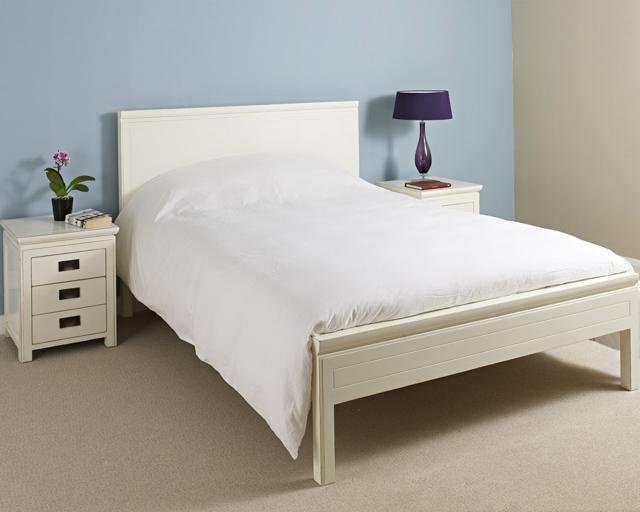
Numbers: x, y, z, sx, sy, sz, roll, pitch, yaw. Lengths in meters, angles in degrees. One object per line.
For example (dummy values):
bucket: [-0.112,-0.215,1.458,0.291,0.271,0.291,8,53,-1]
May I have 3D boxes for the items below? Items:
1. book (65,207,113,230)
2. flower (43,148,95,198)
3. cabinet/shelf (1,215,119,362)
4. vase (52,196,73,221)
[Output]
book: [-1.319,-0.205,3.107,0.163,0.040,0.163,11,19,27]
flower: [-1.495,-0.475,3.307,0.287,0.305,0.306,0,7,12]
cabinet/shelf: [-1.464,0.091,3.365,0.778,0.994,0.691,-3,7,-34]
vase: [-1.493,-0.275,3.193,0.128,0.151,0.129,-4,12,-26]
